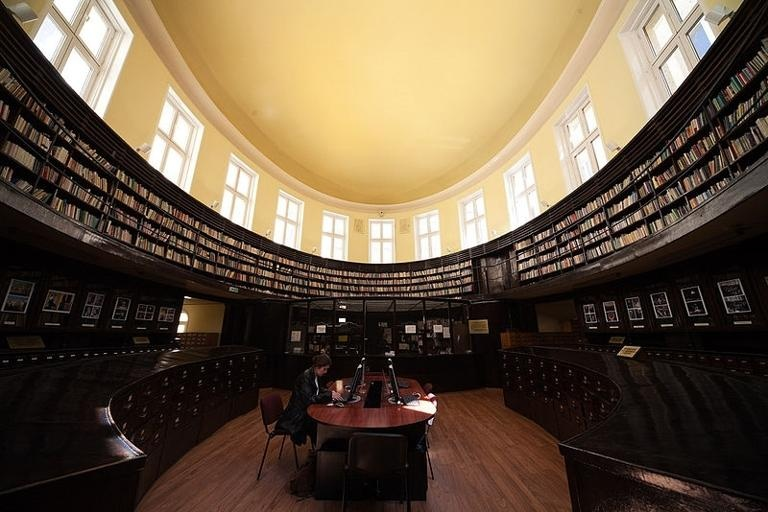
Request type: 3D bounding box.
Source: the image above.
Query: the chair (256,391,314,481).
[{"bbox_3d":[-1.423,2.610,5.572,0.651,1.028,0.681,-8,-6,27],"label":"chair"}]

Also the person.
[{"bbox_3d":[-1.088,2.207,5.656,0.811,1.395,0.605,10,-2,0],"label":"person"}]
